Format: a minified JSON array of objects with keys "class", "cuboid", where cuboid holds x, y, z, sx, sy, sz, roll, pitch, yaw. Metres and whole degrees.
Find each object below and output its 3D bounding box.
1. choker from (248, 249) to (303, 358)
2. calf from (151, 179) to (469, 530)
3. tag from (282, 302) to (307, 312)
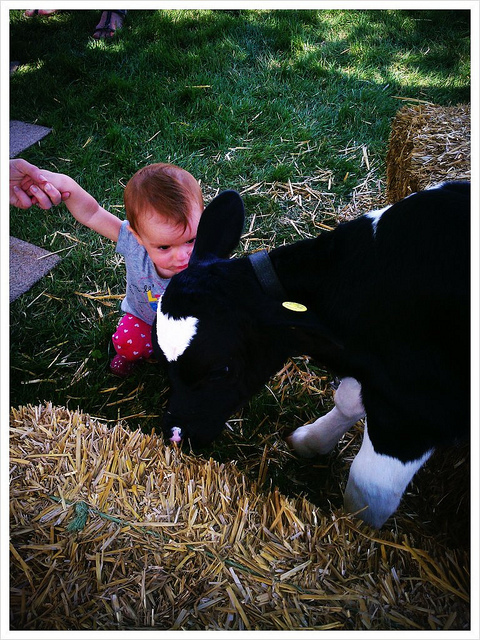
[{"class":"choker","cuboid":[0.087,-0.053,1.643,0.057,0.294,0.097,-31,5,-16]},{"class":"calf","cuboid":[0.193,0.128,1.758,0.848,0.961,0.278,3,16,8]},{"class":"tag","cuboid":[0.136,-0.033,1.618,0.062,0.024,0.008,2,16,6]}]
